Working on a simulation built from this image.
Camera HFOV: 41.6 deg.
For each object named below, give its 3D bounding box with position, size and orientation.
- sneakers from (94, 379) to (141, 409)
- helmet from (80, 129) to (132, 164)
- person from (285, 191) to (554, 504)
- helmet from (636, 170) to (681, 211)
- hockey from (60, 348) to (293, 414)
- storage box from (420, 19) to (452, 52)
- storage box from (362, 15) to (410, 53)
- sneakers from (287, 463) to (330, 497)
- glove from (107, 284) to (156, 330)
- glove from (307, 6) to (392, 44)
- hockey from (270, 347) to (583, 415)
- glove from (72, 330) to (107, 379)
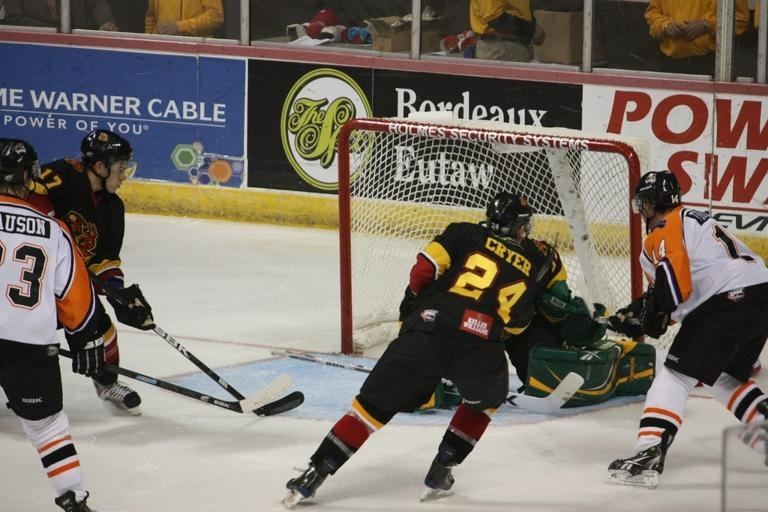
[{"bbox_3d":[-1.587,0.822,6.100,0.341,0.124,0.141,13,-20,28],"label":"sneakers"},{"bbox_3d":[-1.634,-0.631,5.935,0.262,0.222,0.206,0,25,-5],"label":"helmet"},{"bbox_3d":[0.284,0.466,5.203,1.400,1.524,0.576,-6,13,-32],"label":"person"},{"bbox_3d":[1.511,-0.356,5.525,0.201,0.200,0.240,-9,21,-31],"label":"helmet"},{"bbox_3d":[-1.280,0.774,6.143,1.404,0.148,0.199,12,-7,18],"label":"hockey"},{"bbox_3d":[0.486,-2.123,9.658,0.320,0.300,0.362,-9,23,-5],"label":"storage box"},{"bbox_3d":[-0.106,-2.107,9.758,0.471,0.313,0.554,-1,3,-12],"label":"storage box"},{"bbox_3d":[-0.381,1.124,5.082,0.224,0.129,0.099,-42,-4,-6],"label":"sneakers"},{"bbox_3d":[-1.479,0.314,5.917,0.233,0.277,0.094,-38,8,-29],"label":"glove"},{"bbox_3d":[-0.453,-2.219,9.803,0.493,0.410,0.181,-11,-31,-6],"label":"glove"},{"bbox_3d":[0.296,0.719,5.675,1.532,0.086,0.343,8,44,19],"label":"hockey"},{"bbox_3d":[-1.499,0.498,5.112,0.183,0.215,0.090,2,13,-1],"label":"glove"}]
